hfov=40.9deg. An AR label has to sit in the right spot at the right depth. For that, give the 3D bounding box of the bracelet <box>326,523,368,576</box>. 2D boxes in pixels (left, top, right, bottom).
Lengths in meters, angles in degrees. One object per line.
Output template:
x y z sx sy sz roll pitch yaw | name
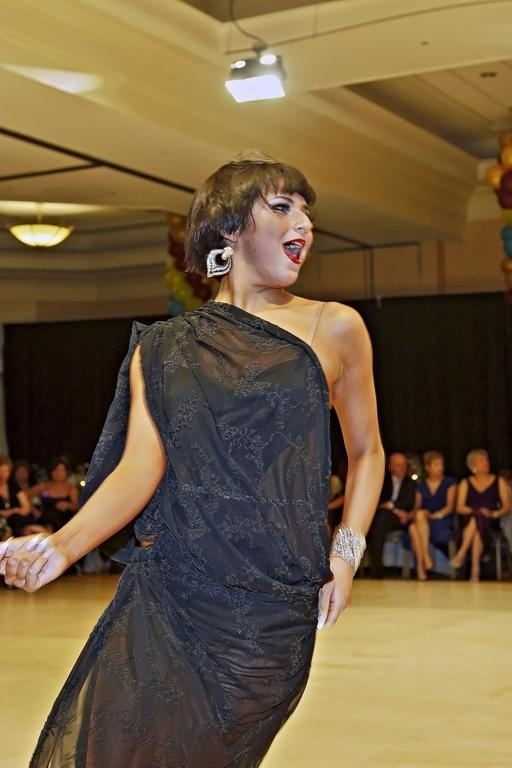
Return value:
0.149 0.264 1.101 0.063 0.065 0.074 12 -23 0 | bracelet
